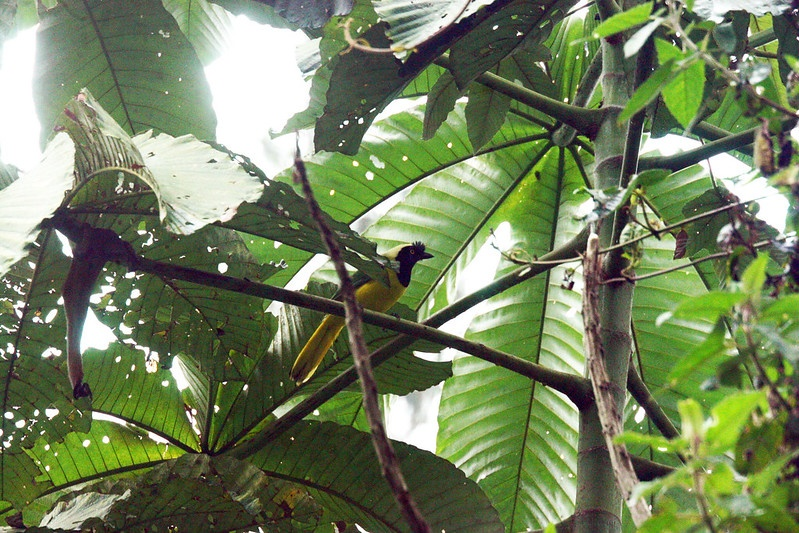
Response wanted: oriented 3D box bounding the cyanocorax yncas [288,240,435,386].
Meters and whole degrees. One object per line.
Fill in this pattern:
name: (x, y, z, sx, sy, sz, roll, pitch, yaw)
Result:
cyanocorax yncas: (-0.226, 0.213, 4.986, 0.980, 0.407, 0.298, -33, -53, 25)
